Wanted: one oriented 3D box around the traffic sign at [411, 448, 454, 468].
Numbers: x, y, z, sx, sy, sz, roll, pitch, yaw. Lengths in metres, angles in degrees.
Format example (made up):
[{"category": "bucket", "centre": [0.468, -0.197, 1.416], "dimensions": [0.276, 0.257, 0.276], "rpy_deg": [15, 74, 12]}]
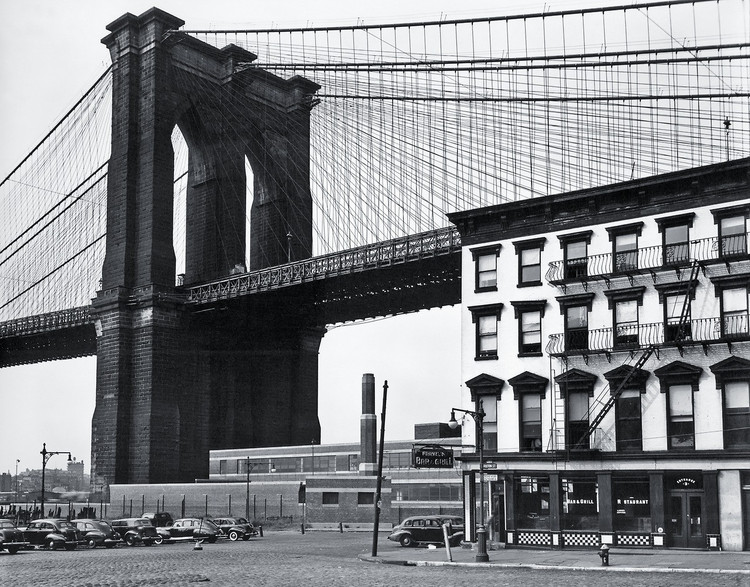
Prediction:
[{"category": "traffic sign", "centre": [3.246, 9.255, 101.169], "dimensions": [2.767, 1.153, 1.461], "rpy_deg": [5, -15, -21]}]
